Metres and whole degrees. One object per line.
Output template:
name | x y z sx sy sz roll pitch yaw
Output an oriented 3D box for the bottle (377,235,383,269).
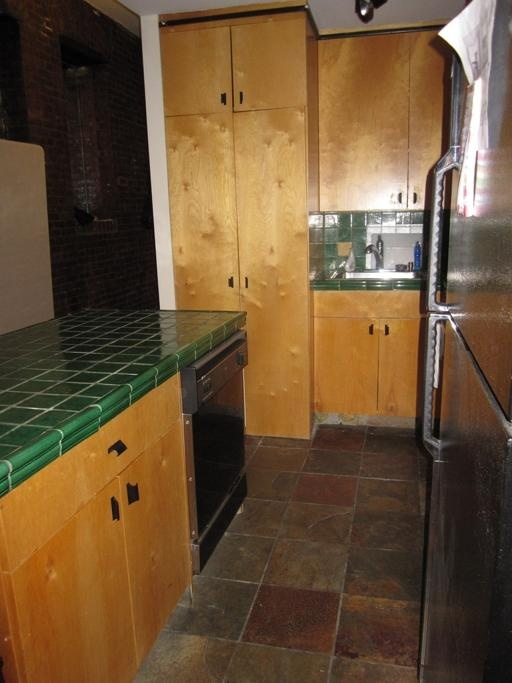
bottle | 0.955 -0.689 4.017 0.058 0.252 0.121 1 10 14
